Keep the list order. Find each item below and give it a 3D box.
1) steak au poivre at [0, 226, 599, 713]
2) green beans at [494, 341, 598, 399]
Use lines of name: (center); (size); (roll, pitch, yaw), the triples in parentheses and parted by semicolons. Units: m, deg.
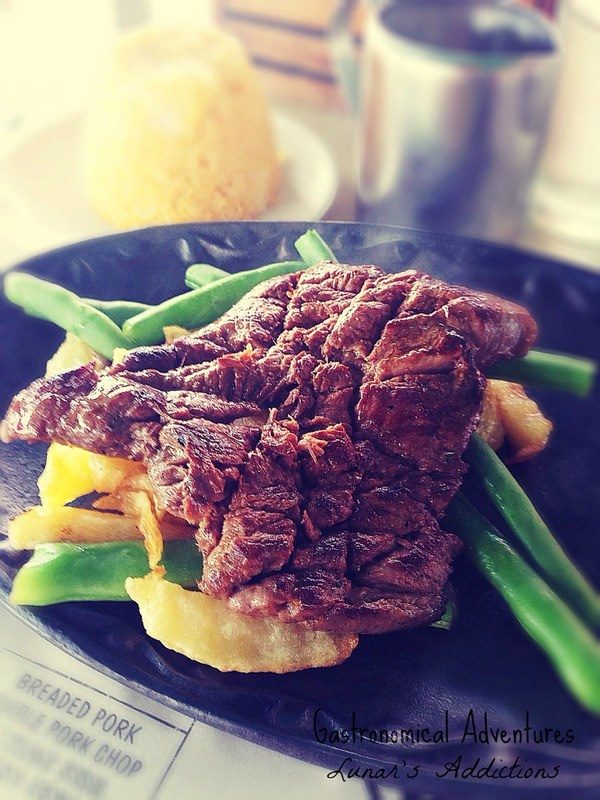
steak au poivre: (-0.079, 0.058, 1.321); (0.711, 0.249, 0.674); (13, 53, 14)
green beans: (0.361, -0.048, 1.460); (0.264, 0.060, 0.058); (6, 79, -6)
